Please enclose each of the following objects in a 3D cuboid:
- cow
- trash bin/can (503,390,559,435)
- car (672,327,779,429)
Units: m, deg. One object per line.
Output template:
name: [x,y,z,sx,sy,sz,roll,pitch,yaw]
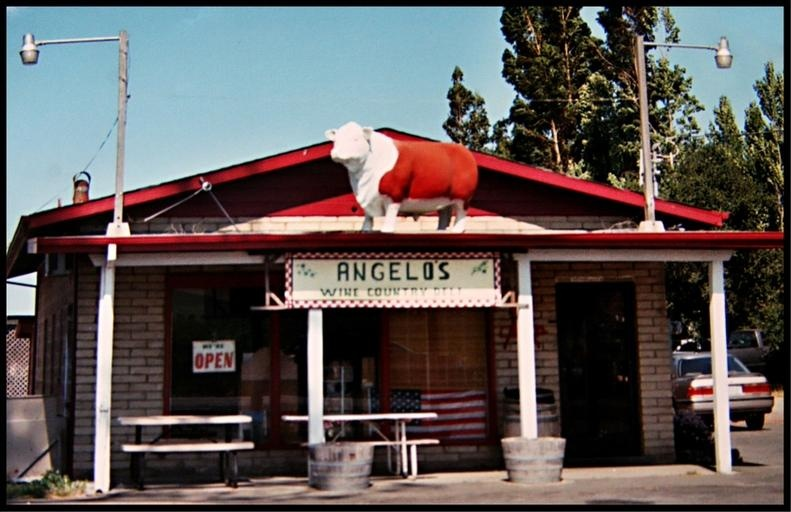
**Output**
cow: [0.123,-1.480,22.798,3.397,1.990,1.602,1,-1,-29]
trash bin/can: [2.699,3.159,22.730,0.958,0.921,0.969,-7,-9,32]
car: [8.238,3.333,29.458,2.323,1.920,5.521,-1,-4,-1]
